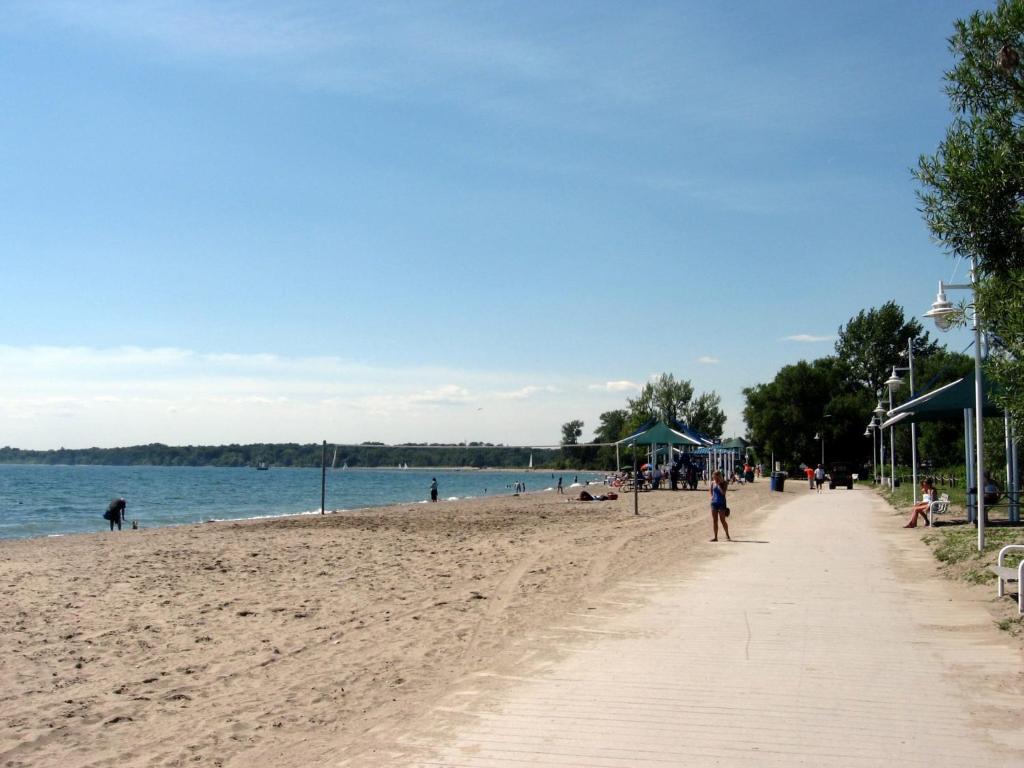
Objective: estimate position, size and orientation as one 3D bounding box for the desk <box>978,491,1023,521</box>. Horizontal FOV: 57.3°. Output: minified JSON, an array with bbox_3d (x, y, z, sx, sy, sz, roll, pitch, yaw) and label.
[{"bbox_3d":[9.530,2.393,18.334,0.438,0.680,1.318,-2,-5,35],"label":"desk"}]
